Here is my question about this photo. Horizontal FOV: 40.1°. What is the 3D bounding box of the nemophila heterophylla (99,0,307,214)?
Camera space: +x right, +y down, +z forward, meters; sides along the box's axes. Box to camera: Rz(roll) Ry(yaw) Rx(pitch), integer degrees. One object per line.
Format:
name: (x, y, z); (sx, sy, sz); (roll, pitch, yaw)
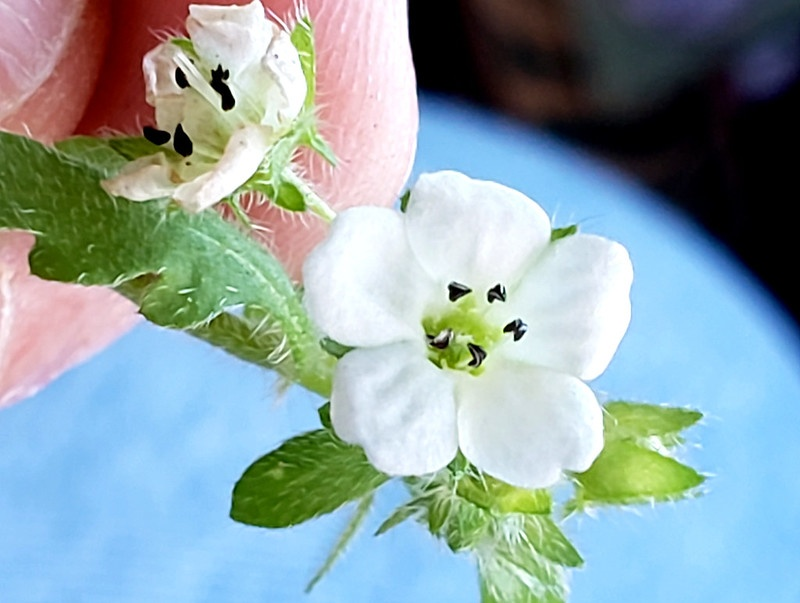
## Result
nemophila heterophylla: (-0.133, -0.148, 0.812); (0.136, 0.070, 0.167); (2, 79, 40)

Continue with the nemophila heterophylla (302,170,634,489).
nemophila heterophylla: (0.049, 0.017, 0.782); (0.232, 0.076, 0.218); (4, 79, 3)
